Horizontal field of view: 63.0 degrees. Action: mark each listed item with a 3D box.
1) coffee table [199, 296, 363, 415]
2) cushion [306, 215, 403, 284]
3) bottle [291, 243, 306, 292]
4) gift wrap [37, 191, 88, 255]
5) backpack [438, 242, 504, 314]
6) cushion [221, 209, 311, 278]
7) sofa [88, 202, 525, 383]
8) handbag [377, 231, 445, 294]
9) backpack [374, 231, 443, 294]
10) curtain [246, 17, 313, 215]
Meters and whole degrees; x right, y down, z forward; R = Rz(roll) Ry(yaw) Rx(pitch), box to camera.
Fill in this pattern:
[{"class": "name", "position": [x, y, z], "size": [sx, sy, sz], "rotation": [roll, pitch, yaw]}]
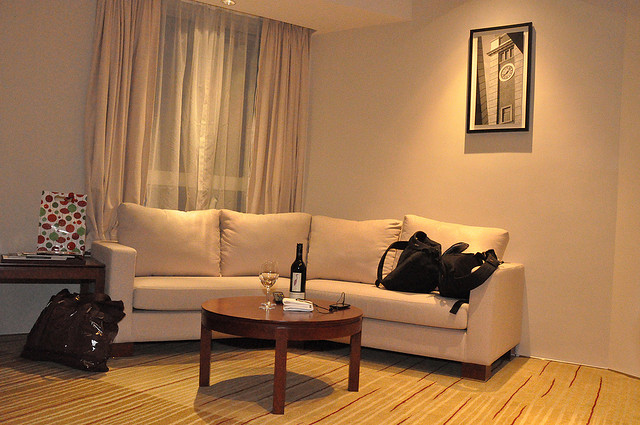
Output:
[{"class": "coffee table", "position": [-0.347, 0.948, 4.214], "size": [1.340, 0.721, 1.254], "rotation": [4, -2, -41]}, {"class": "cushion", "position": [0.287, 0.389, 5.277], "size": [0.911, 0.670, 0.355], "rotation": [5, 2, 26]}, {"class": "bottle", "position": [-0.181, 0.432, 4.180], "size": [0.106, 0.382, 0.182], "rotation": [2, 5, -3]}, {"class": "gift wrap", "position": [-2.351, 0.084, 4.808], "size": [0.550, 0.679, 0.307], "rotation": [3, -1, -15]}, {"class": "backpack", "position": [1.240, 0.571, 4.396], "size": [0.484, 0.526, 0.294], "rotation": [3, 5, 13]}, {"class": "cushion", "position": [-0.583, 0.279, 5.202], "size": [1.031, 0.636, 0.512], "rotation": [2, 2, -22]}, {"class": "sofa", "position": [-0.126, 0.712, 5.193], "size": [3.898, 1.388, 2.171], "rotation": [3, -3, 3]}, {"class": "handbag", "position": [0.827, 0.534, 4.807], "size": [0.443, 0.595, 0.611], "rotation": [25, -21, -24]}, {"class": "backpack", "position": [0.818, 0.476, 4.801], "size": [0.601, 0.579, 0.468], "rotation": [8, -3, 41]}, {"class": "curtain", "position": [-0.482, -1.050, 5.872], "size": [0.757, 2.110, 0.280], "rotation": [0, 4, -42]}]
